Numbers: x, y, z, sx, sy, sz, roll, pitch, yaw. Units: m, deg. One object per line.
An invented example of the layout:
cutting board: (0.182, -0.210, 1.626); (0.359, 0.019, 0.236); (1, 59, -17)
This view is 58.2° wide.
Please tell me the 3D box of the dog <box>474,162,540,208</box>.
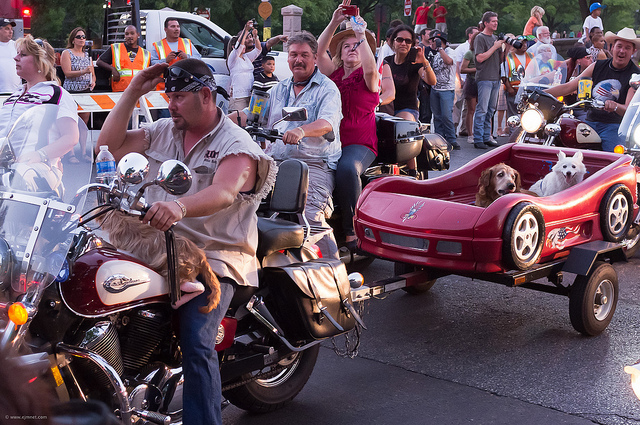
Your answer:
dog: (2.003, -0.263, 6.504); (0.582, 0.562, 1.149); (7, 8, 3)

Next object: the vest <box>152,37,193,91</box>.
vest: (-3.232, -3.395, 12.840); (0.820, 1.178, 0.619); (-8, -7, -21)

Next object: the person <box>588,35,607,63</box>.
person: (6.688, -3.902, 13.729); (0.393, 0.731, 0.651); (-1, 21, 36)

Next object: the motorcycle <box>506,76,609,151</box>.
motorcycle: (3.428, -1.420, 8.254); (0.862, 0.889, 1.408); (9, 7, 39)

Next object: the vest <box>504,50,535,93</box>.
vest: (5.044, -3.582, 14.365); (0.741, 0.906, 0.942); (0, 3, 24)

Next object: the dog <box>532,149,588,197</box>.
dog: (2.790, -0.463, 6.484); (0.506, 0.570, 0.991); (0, 17, 11)

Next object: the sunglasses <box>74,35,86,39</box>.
sunglasses: (-5.148, -3.761, 12.251); (0.222, 0.081, 0.114); (-10, 17, -31)

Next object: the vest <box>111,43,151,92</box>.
vest: (-4.251, -3.264, 12.780); (0.868, 1.007, 0.436); (-6, 16, -20)

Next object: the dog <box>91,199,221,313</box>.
dog: (-1.017, 0.218, 3.572); (0.956, 0.529, 0.328); (22, -6, 8)
